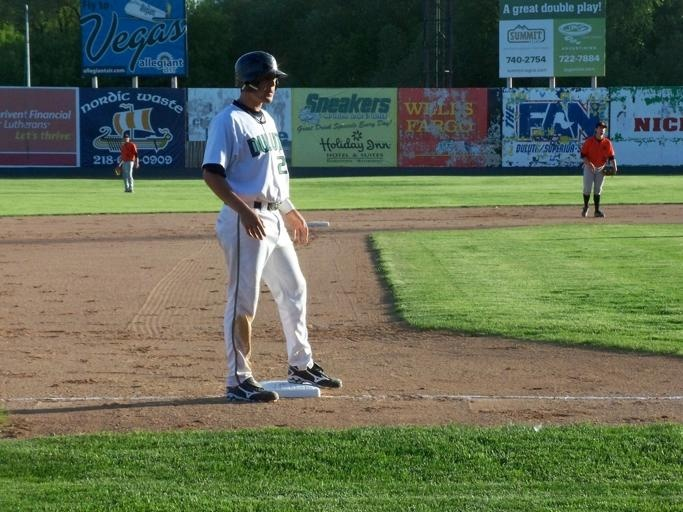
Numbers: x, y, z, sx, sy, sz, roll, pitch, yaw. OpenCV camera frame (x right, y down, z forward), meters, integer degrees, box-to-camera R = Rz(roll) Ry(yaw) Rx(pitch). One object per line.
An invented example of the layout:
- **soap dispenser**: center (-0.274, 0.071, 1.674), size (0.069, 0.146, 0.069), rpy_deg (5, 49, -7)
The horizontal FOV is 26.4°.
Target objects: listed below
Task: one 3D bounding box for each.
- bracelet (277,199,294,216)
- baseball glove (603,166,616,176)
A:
- **bracelet**: center (-1.324, -1.142, 33.045), size (0.342, 0.307, 0.358), rpy_deg (32, 13, 30)
- **baseball glove**: center (7.852, -2.511, 42.672), size (0.360, 0.323, 0.492), rpy_deg (0, 9, -4)
